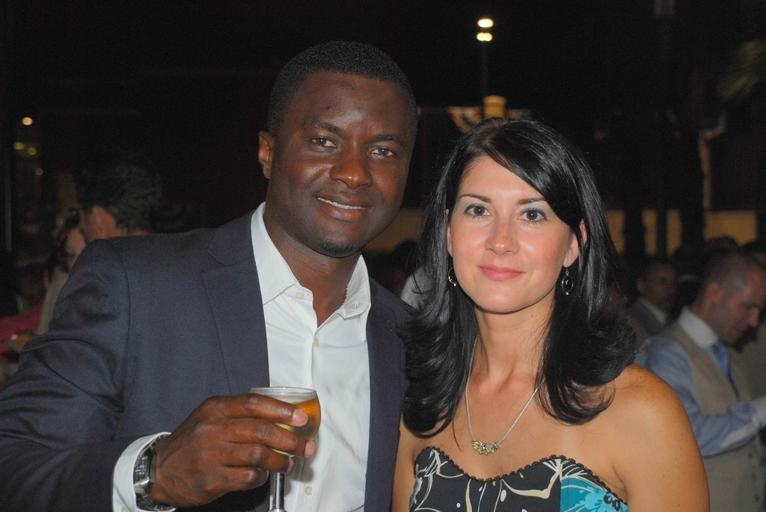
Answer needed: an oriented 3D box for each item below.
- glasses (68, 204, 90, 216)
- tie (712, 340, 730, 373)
[{"bbox_3d":[-2.572,-0.384,6.504,0.095,0.047,0.128,2,-14,-14],"label":"glasses"},{"bbox_3d":[2.781,0.835,6.310,0.064,0.248,0.154,-23,-14,37],"label":"tie"}]
